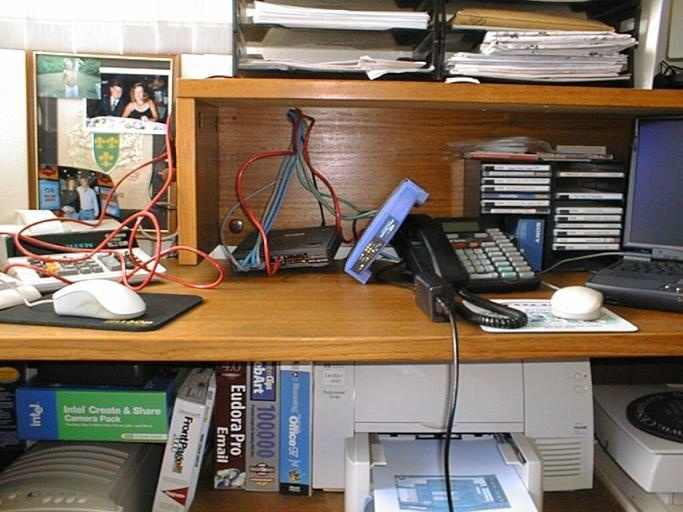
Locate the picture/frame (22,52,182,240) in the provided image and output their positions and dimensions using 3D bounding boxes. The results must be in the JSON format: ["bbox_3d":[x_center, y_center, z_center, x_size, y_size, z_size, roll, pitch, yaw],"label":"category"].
[{"bbox_3d":[-0.672,-0.313,1.698,0.577,0.493,0.037,12,16,25],"label":"picture/frame"}]

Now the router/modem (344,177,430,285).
[{"bbox_3d":[0.055,-0.070,1.472,0.219,0.213,0.182,12,12,-6],"label":"router/modem"}]

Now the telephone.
[{"bbox_3d":[0.292,0.003,1.427,0.307,0.081,0.238,-1,20,-11],"label":"telephone"}]

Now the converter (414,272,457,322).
[{"bbox_3d":[0.186,0.081,1.235,0.064,0.079,0.160,0,9,-3],"label":"converter"}]
